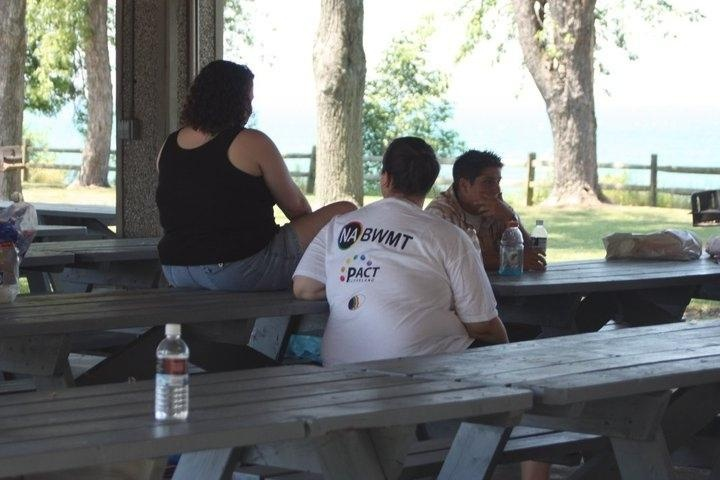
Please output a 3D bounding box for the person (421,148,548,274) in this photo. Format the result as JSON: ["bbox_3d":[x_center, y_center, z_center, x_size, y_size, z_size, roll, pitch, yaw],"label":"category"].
[{"bbox_3d":[0.777,-0.215,4.578,0.615,0.732,0.816,-15,23,-27],"label":"person"}]

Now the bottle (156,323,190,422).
[{"bbox_3d":[-0.580,0.383,2.293,0.107,0.259,0.278,-2,9,-13],"label":"bottle"}]

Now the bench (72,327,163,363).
[{"bbox_3d":[-1.293,0.550,3.972,0.285,0.105,0.441,0,9,-5],"label":"bench"}]

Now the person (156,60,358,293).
[{"bbox_3d":[-0.708,-0.371,4.356,1.094,1.321,1.165,4,4,33],"label":"person"}]
